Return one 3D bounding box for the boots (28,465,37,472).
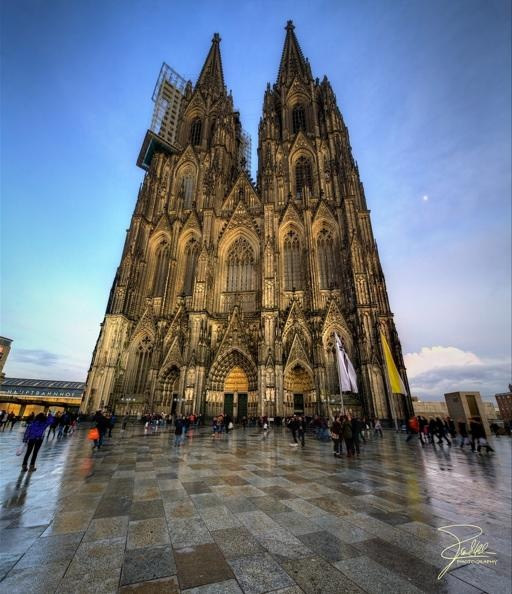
[{"bbox_3d":[-3.891,2.923,6.419,0.030,0.116,0.159,2,-29,-5],"label":"boots"}]
